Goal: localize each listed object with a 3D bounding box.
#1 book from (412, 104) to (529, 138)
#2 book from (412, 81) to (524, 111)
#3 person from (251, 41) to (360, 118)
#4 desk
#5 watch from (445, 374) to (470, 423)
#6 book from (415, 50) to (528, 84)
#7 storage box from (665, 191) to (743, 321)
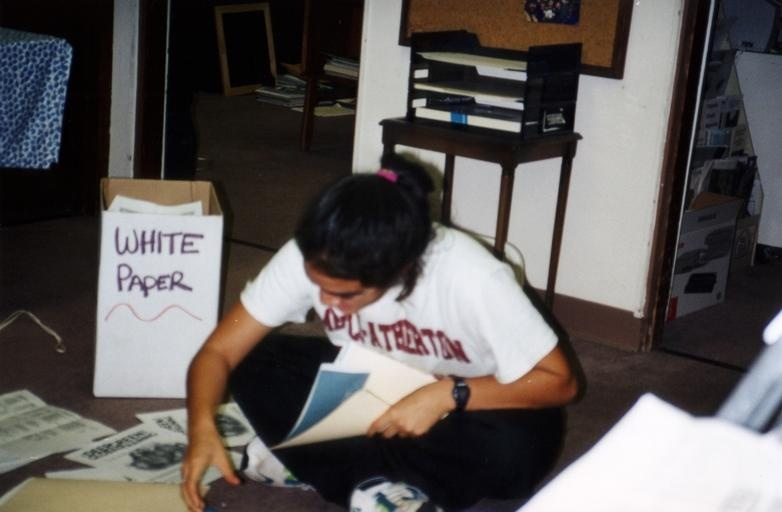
[{"bbox_3d":[0.288,-0.499,2.270,0.440,0.061,0.048,14,19,31],"label":"book"},{"bbox_3d":[0.315,-0.593,2.294,0.226,0.024,0.200,11,4,-6],"label":"book"},{"bbox_3d":[-0.764,-1.580,6.049,0.944,0.243,0.947,-1,22,-38],"label":"person"},{"bbox_3d":[0.316,-0.201,2.454,0.367,0.583,0.517,10,14,13],"label":"desk"},{"bbox_3d":[0.167,0.330,1.470,0.054,0.082,0.075,10,4,-17],"label":"watch"},{"bbox_3d":[0.350,-0.722,2.358,0.412,0.082,0.345,11,17,23],"label":"book"},{"bbox_3d":[1.356,-0.019,2.956,0.526,0.508,0.358,-12,19,-35],"label":"storage box"}]
